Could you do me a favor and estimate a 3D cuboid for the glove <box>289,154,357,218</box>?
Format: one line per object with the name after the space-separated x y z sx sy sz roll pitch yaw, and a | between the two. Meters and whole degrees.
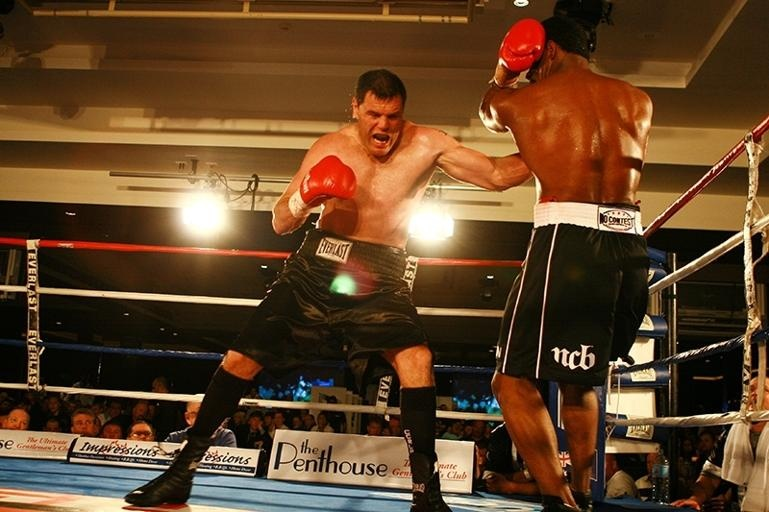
-0.393 -0.458 5.221 0.246 0.246 0.398 31 -55 -17 | glove

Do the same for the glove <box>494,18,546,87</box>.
0.949 -1.311 5.138 0.147 0.303 0.394 5 -55 -48 | glove
